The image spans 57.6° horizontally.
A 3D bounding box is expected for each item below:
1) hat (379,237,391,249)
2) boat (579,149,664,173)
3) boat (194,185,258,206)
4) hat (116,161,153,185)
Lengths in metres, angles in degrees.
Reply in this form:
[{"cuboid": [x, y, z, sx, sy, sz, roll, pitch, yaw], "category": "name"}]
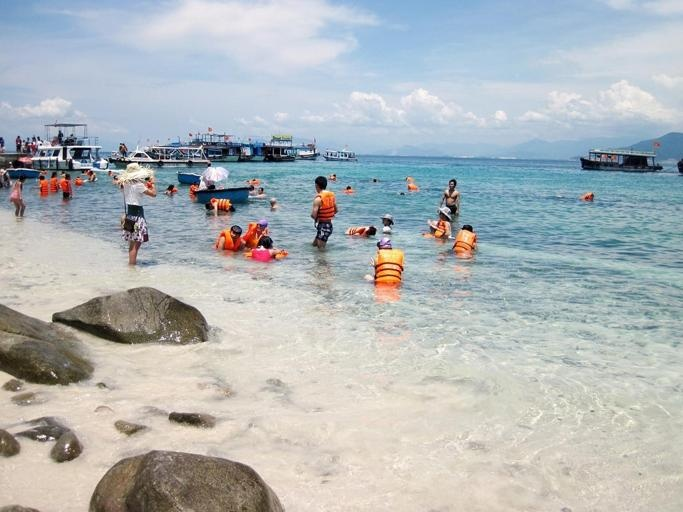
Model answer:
[{"cuboid": [0.854, -0.245, 12.482, 0.224, 0.188, 0.230, 5, 25, -2], "category": "hat"}, {"cuboid": [33.807, -11.404, 75.617, 6.883, 2.884, 9.547, 0, 13, -12], "category": "boat"}, {"cuboid": [-5.159, -2.631, 26.653, 1.879, 0.444, 1.212, -4, 9, -5], "category": "boat"}, {"cuboid": [-4.057, -1.531, 11.951, 0.578, 0.159, 0.516, -5, 29, 25], "category": "hat"}]
